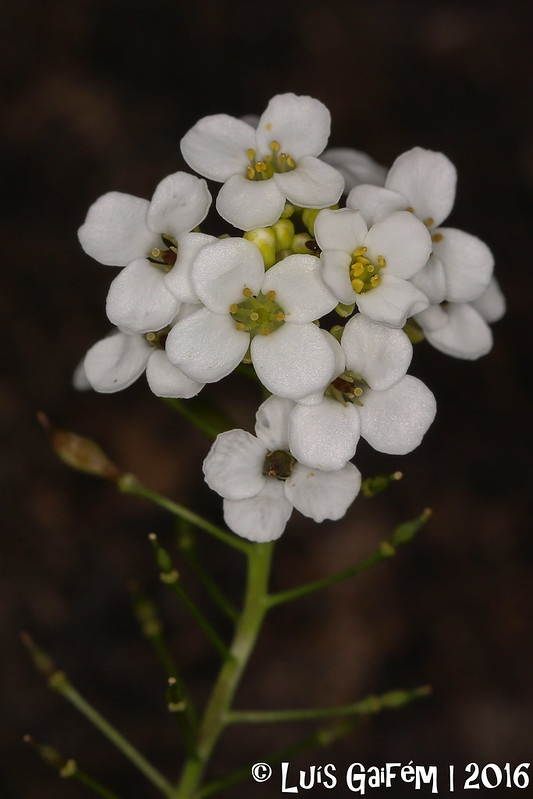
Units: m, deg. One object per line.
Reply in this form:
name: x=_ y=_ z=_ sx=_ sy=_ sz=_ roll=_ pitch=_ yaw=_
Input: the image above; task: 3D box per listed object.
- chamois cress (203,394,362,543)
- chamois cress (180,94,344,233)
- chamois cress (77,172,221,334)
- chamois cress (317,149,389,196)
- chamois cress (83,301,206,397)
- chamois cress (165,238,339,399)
chamois cress: x=0.024 y=0.094 z=1.269 sx=0.252 sy=0.214 sz=0.075 roll=13 pitch=46 yaw=28
chamois cress: x=0.015 y=-0.404 z=1.310 sx=0.271 sy=0.208 sz=0.083 roll=-10 pitch=12 yaw=30
chamois cress: x=-0.178 y=-0.245 z=1.313 sx=0.088 sy=0.273 sz=0.217 roll=-37 pitch=29 yaw=19
chamois cress: x=0.169 y=-0.444 z=1.545 sx=0.141 sy=0.037 sz=0.135 roll=24 pitch=38 yaw=-20
chamois cress: x=-0.215 y=-0.054 z=1.331 sx=0.174 sy=0.087 sz=0.163 roll=-44 pitch=57 yaw=3
chamois cress: x=-0.007 y=-0.118 z=1.206 sx=0.259 sy=0.069 sz=0.213 roll=15 pitch=49 yaw=-15
